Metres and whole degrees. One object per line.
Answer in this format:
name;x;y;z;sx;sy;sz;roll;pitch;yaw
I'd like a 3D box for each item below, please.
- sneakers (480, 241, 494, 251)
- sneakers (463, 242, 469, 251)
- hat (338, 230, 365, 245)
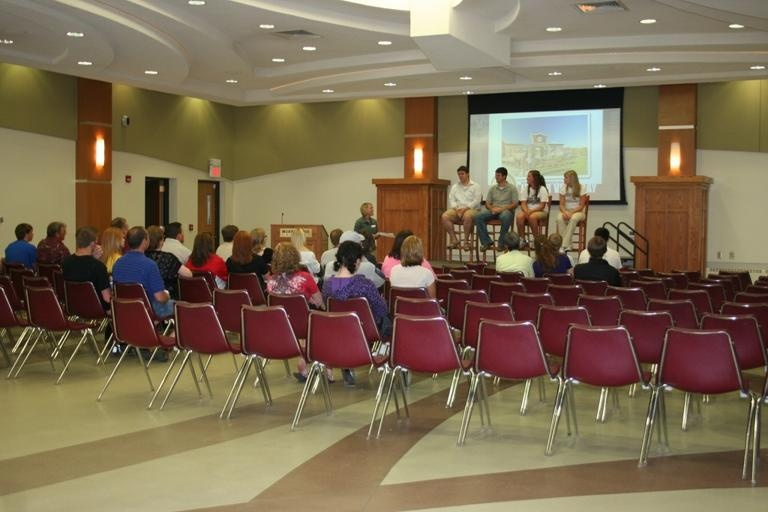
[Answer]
sneakers;2.195;-0.200;12.506;0.278;0.126;0.127;-13;5;-34
sneakers;1.934;-0.227;13.842;0.107;0.182;0.363;-1;-11;4
hat;-0.469;-0.285;8.845;0.374;0.206;0.272;-3;4;-41
